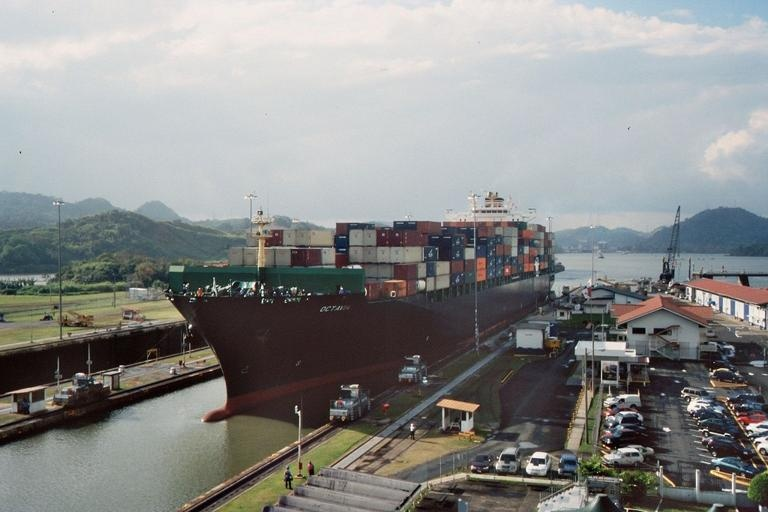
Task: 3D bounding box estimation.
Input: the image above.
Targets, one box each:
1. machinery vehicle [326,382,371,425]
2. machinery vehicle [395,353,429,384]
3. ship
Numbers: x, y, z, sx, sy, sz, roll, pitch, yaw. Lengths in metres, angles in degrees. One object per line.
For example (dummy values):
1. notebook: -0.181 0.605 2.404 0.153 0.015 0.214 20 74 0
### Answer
1. machinery vehicle: -2.667 11.868 63.048 2.130 2.432 4.969 2 5 23
2. machinery vehicle: 2.771 10.440 69.986 1.725 1.905 3.166 -1 -3 8
3. ship: 8.676 1.815 92.044 26.432 19.286 82.919 -5 1 25
